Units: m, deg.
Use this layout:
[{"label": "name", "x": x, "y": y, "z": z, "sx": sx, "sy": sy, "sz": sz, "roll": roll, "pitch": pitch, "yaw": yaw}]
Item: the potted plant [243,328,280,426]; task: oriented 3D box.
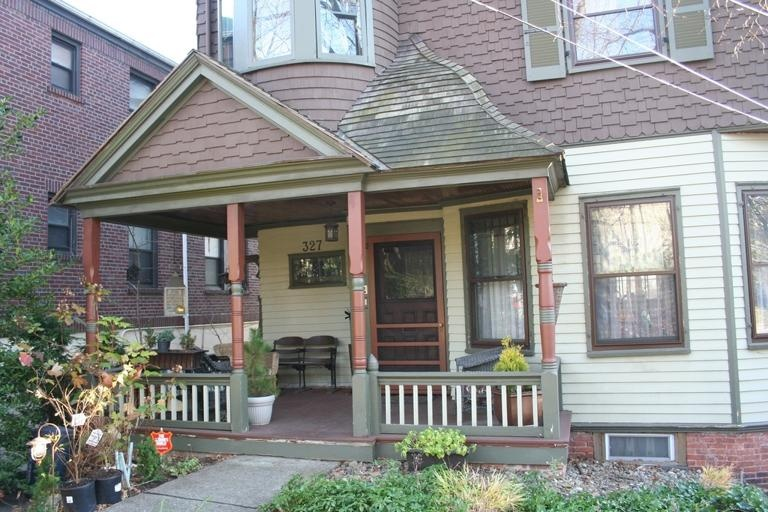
[{"label": "potted plant", "x": -1.999, "y": 1.946, "z": 12.286, "sx": 0.577, "sy": 1.571, "sz": 0.404, "roll": 1, "pitch": -9, "yaw": -24}]

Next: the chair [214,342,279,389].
[{"label": "chair", "x": -2.993, "y": 2.252, "z": 16.356, "sx": 1.366, "sy": 0.997, "sz": 1.217, "roll": 0, "pitch": -9, "yaw": -5}]

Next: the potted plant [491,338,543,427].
[{"label": "potted plant", "x": 1.870, "y": 2.087, "z": 11.811, "sx": 0.959, "sy": 1.267, "sz": 0.899, "roll": -5, "pitch": -6, "yaw": 16}]

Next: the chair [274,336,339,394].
[{"label": "chair", "x": -1.459, "y": 2.080, "z": 14.708, "sx": 1.018, "sy": 0.759, "sz": 0.429, "roll": -3, "pitch": -10, "yaw": 11}]

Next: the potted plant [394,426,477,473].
[{"label": "potted plant", "x": 0.737, "y": 2.778, "z": 10.978, "sx": 0.784, "sy": 0.382, "sz": 0.705, "roll": -2, "pitch": -3, "yaw": 13}]
